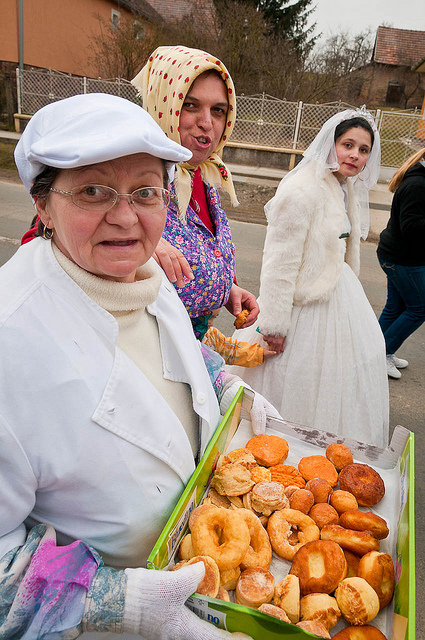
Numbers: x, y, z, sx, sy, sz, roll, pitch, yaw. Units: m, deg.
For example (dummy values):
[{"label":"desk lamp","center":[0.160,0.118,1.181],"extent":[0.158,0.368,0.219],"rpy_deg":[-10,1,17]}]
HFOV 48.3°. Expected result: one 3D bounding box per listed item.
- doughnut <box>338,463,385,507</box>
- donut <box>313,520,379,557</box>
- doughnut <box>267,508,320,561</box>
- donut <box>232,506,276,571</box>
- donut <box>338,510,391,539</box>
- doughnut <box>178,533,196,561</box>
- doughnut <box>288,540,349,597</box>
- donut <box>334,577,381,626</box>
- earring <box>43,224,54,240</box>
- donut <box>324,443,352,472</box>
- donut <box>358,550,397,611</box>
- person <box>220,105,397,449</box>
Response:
[{"label":"doughnut","center":[0.427,0.460,1.336],"extent":[0.133,0.049,0.129],"rpy_deg":[26,35,29]},{"label":"donut","center":[0.327,0.526,1.149],"extent":[0.094,0.030,0.075],"rpy_deg":[14,1,17]},{"label":"doughnut","center":[0.198,0.531,1.158],"extent":[0.104,0.070,0.133],"rpy_deg":[-7,16,-31]},{"label":"donut","center":[0.107,0.521,1.134],"extent":[0.129,0.042,0.118],"rpy_deg":[1,58,-41]},{"label":"donut","center":[0.378,0.503,1.169],"extent":[0.085,0.031,0.069],"rpy_deg":[12,-3,14]},{"label":"doughnut","center":[-0.061,0.515,1.068],"extent":[0.023,0.044,0.044],"rpy_deg":[3,42,-10]},{"label":"doughnut","center":[0.242,0.565,1.081],"extent":[0.118,0.041,0.126],"rpy_deg":[2,36,16]},{"label":"donut","center":[0.295,0.580,0.999],"extent":[0.084,0.077,0.080],"rpy_deg":[28,-2,15]},{"label":"earring","center":[-0.378,-0.206,1.089],"extent":[0.023,0.046,0.066],"rpy_deg":[-3,25,-20]},{"label":"donut","center":[0.383,0.410,1.414],"extent":[0.060,0.038,0.075],"rpy_deg":[4,26,4]},{"label":"donut","center":[0.375,0.572,1.052],"extent":[0.092,0.030,0.088],"rpy_deg":[-4,63,-42]},{"label":"person","center":[0.580,-0.175,2.831],"extent":[1.037,1.977,0.829],"rpy_deg":[5,26,18]}]
